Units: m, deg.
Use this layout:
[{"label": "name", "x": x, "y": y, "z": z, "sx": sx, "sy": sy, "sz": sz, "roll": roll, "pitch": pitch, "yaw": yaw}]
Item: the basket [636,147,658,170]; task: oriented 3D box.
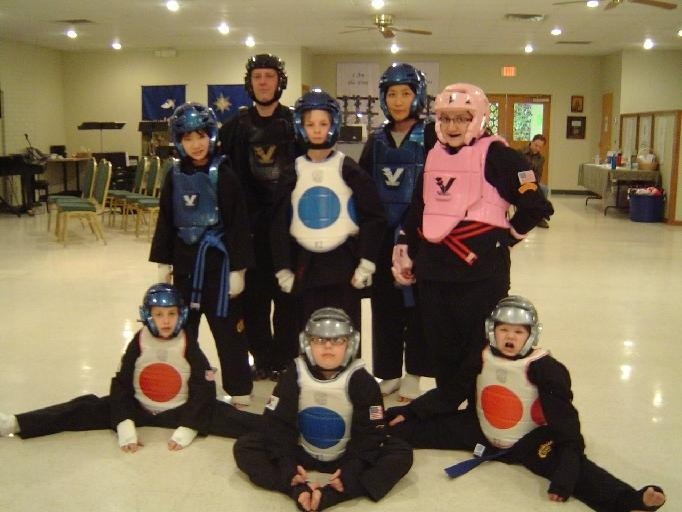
[{"label": "basket", "x": 5.523, "y": -1.767, "z": 9.936, "sx": 0.136, "sy": 0.399, "sz": 0.297, "roll": 7, "pitch": -4, "yaw": -16}]

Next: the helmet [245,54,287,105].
[{"label": "helmet", "x": -0.427, "y": -1.031, "z": 3.284, "sx": 0.269, "sy": 0.296, "sz": 0.307, "roll": 0, "pitch": 11, "yaw": 0}]

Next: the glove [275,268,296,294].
[{"label": "glove", "x": -0.288, "y": 0.127, "z": 3.006, "sx": 0.099, "sy": 0.119, "sz": 0.129, "roll": -2, "pitch": -4, "yaw": 0}]

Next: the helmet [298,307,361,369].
[{"label": "helmet", "x": -0.051, "y": 0.331, "z": 2.418, "sx": 0.238, "sy": 0.265, "sz": 0.223, "roll": 2, "pitch": 1, "yaw": 3}]

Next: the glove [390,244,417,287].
[{"label": "glove", "x": 0.319, "y": 0.049, "z": 2.831, "sx": 0.130, "sy": 0.197, "sz": 0.089, "roll": -4, "pitch": 4, "yaw": 27}]

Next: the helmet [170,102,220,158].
[{"label": "helmet", "x": -0.761, "y": -0.683, "z": 3.031, "sx": 0.221, "sy": 0.272, "sz": 0.256, "roll": -5, "pitch": 32, "yaw": -6}]

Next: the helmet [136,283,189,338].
[{"label": "helmet", "x": -0.897, "y": 0.272, "z": 2.823, "sx": 0.230, "sy": 0.262, "sz": 0.183, "roll": -4, "pitch": 12, "yaw": -19}]

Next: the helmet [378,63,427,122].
[{"label": "helmet", "x": 0.365, "y": -0.956, "z": 3.177, "sx": 0.261, "sy": 0.300, "sz": 0.318, "roll": 6, "pitch": 25, "yaw": 15}]

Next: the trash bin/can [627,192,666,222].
[{"label": "trash bin/can", "x": 5.242, "y": -0.850, "z": 9.547, "sx": 0.490, "sy": 0.402, "sz": 0.507, "roll": -4, "pitch": 6, "yaw": -35}]

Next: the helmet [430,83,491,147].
[{"label": "helmet", "x": 0.576, "y": -0.684, "z": 2.697, "sx": 0.236, "sy": 0.278, "sz": 0.304, "roll": 0, "pitch": 1, "yaw": 35}]

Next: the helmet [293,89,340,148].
[{"label": "helmet", "x": -0.113, "y": -0.698, "z": 2.953, "sx": 0.240, "sy": 0.303, "sz": 0.314, "roll": -1, "pitch": -16, "yaw": 0}]

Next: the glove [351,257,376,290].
[{"label": "glove", "x": 0.121, "y": 0.096, "z": 2.876, "sx": 0.115, "sy": 0.153, "sz": 0.060, "roll": 13, "pitch": 11, "yaw": -4}]

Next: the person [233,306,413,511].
[{"label": "person", "x": -0.054, "y": 0.664, "z": 2.644, "sx": 0.940, "sy": 0.966, "sz": 0.755, "roll": -2, "pitch": -1, "yaw": 5}]
